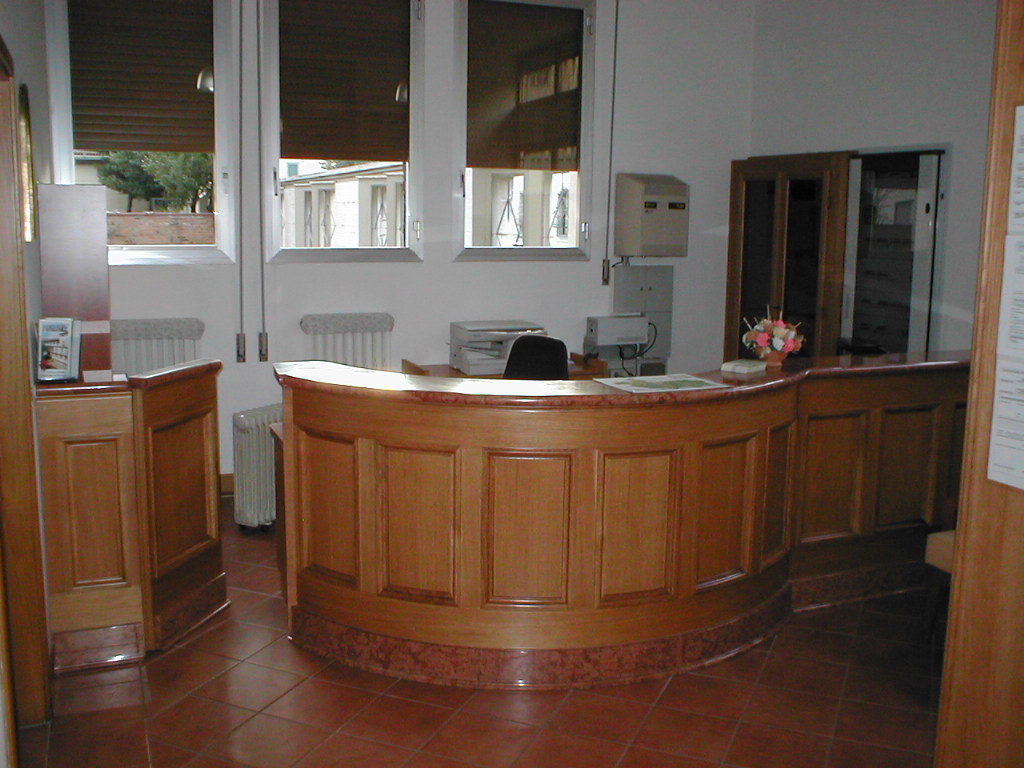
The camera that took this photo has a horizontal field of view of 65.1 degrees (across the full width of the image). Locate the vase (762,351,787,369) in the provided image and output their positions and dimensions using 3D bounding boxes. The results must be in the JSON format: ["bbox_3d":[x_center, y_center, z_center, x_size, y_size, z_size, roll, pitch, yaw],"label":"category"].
[{"bbox_3d":[1.396,-0.129,4.276,0.088,0.046,0.127,0,10,8],"label":"vase"}]

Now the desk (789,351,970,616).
[{"bbox_3d":[1.977,0.546,4.384,1.291,1.151,0.458,-4,12,-22],"label":"desk"}]

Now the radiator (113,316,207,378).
[{"bbox_3d":[-2.566,-0.309,5.767,0.644,0.043,0.672,-5,41,-15],"label":"radiator"}]

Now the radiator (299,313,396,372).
[{"bbox_3d":[-1.254,-0.327,5.920,0.465,0.476,0.026,-4,12,-22],"label":"radiator"}]

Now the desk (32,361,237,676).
[{"bbox_3d":[-2.004,0.569,4.211,0.835,1.364,1.202,2,8,13],"label":"desk"}]
